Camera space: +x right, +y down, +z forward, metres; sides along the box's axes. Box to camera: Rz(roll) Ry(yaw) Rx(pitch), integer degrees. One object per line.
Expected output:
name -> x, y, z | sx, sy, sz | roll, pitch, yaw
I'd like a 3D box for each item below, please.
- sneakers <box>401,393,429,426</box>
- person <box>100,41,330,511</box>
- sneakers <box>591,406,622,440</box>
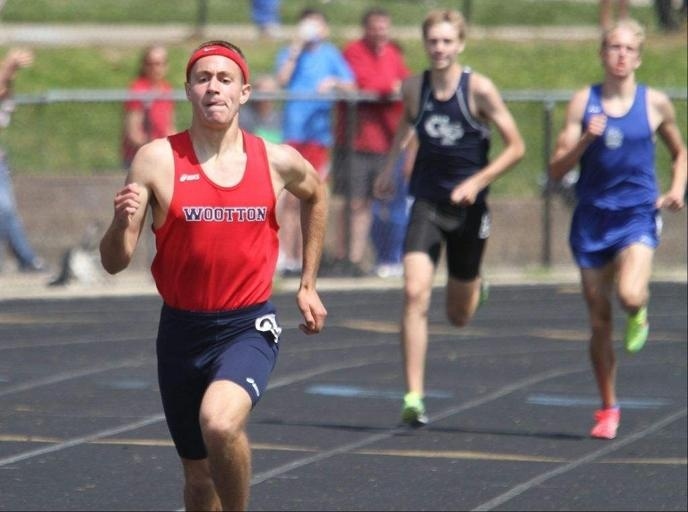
sneakers -> 0.448, 0.987, 8.109 | 0.172, 0.212, 0.222 | -2, -30, -3
person -> -0.629, 0.133, 6.600 | 0.915, 2.463, 1.118 | 5, 17, 20
sneakers -> 1.691, 1.065, 8.087 | 0.152, 0.159, 0.204 | 4, 16, 17
